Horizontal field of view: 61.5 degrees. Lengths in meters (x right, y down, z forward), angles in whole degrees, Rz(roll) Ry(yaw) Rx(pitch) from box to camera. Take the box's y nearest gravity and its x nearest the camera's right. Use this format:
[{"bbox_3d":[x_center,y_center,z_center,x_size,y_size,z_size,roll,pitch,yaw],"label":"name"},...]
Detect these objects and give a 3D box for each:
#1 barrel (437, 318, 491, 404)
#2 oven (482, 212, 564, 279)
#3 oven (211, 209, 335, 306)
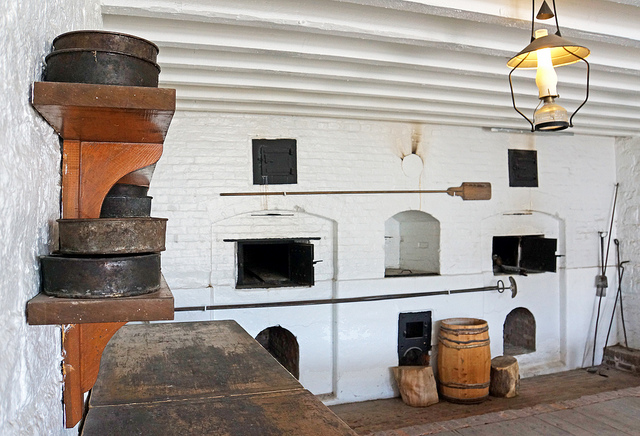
[{"bbox_3d":[1.729,1.708,6.607,0.673,0.869,0.696,-2,3,0],"label":"barrel"},{"bbox_3d":[2.986,0.394,7.652,1.272,0.890,1.147,5,-7,16],"label":"oven"},{"bbox_3d":[-0.642,0.349,6.849,1.494,1.082,1.676,-2,11,-11],"label":"oven"}]
